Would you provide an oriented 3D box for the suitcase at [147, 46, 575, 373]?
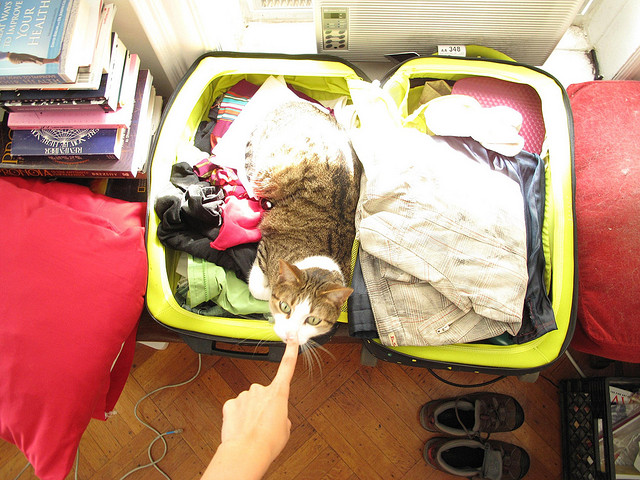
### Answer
[{"bbox_3d":[0.111,-0.069,1.533,1.326,0.452,1.110,3,83,7],"label":"suitcase"}]

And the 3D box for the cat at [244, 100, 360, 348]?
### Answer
[{"bbox_3d":[0.034,-0.061,1.565,0.377,0.413,0.777,5,91,-33],"label":"cat"}]

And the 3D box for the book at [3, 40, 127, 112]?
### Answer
[{"bbox_3d":[-0.795,-0.482,1.489,0.255,0.067,0.280,-4,51,3],"label":"book"}]
